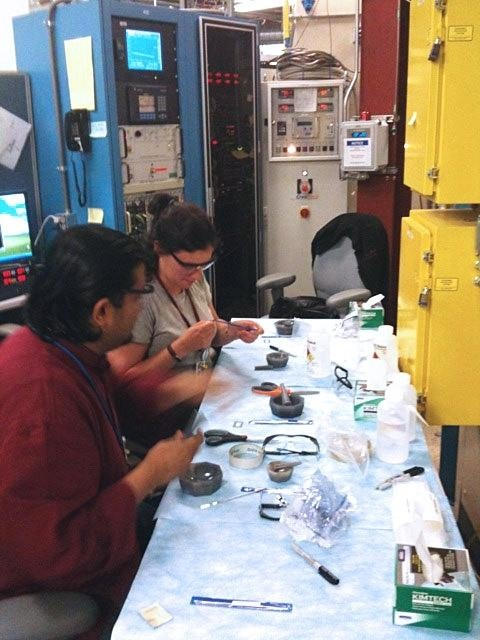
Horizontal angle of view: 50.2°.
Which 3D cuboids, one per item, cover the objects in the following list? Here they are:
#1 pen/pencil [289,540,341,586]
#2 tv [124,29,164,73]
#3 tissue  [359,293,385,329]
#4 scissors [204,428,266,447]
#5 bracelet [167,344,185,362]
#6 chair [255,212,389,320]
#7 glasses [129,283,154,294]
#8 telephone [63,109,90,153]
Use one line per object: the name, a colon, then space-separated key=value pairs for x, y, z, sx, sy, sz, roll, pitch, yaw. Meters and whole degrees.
pen/pencil: x=0.132 y=0.425 z=0.886 sx=0.022 sy=0.018 sz=0.121 roll=-6 pitch=12 yaw=-18
tv: x=-0.574 y=-1.615 z=3.069 sx=0.024 sy=0.256 sz=0.343 roll=5 pitch=15 yaw=30
tissue : x=0.501 y=-0.027 z=1.975 sx=0.099 sy=0.128 sz=0.185 roll=0 pitch=16 yaw=9
scissors: x=-0.020 y=0.324 z=1.386 sx=0.136 sy=0.020 sz=0.054 roll=2 pitch=15 yaw=-4
bracelet: x=-0.224 y=0.116 z=1.789 sx=0.018 sy=0.048 sz=0.050 roll=-24 pitch=-29 yaw=4
chair: x=0.481 y=-0.326 z=3.367 sx=0.697 sy=0.966 sz=0.741 roll=-3 pitch=8 yaw=-29
glasses: x=-0.219 y=-0.070 z=1.133 sx=0.037 sy=0.012 sz=0.047 roll=-1 pitch=9 yaw=8
telephone: x=-0.947 y=-1.095 z=2.974 sx=0.206 sy=0.243 sz=0.083 roll=7 pitch=16 yaw=35
